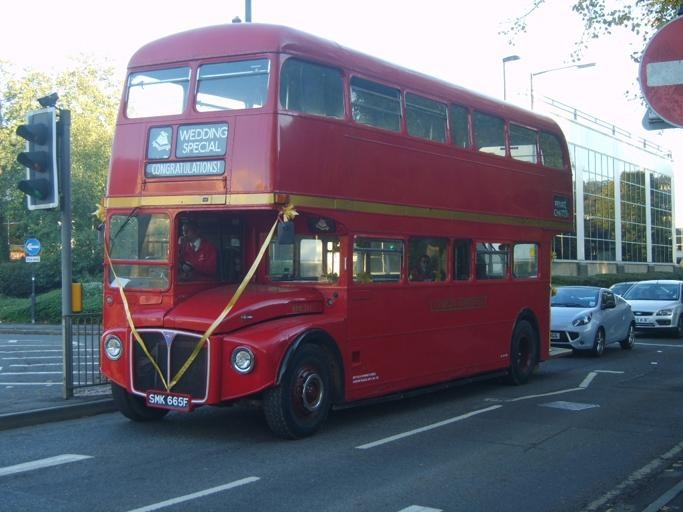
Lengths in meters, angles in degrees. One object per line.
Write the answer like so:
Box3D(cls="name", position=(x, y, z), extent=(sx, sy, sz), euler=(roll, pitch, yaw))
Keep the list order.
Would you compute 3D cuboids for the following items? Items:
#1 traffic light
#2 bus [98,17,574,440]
Box3D(cls="traffic light", position=(-4.916, -1.625, 10.625), extent=(0.585, 1.679, 0.754), euler=(1, -1, -28))
Box3D(cls="bus", position=(1.148, -0.299, 11.874), extent=(10.407, 5.691, 2.810), euler=(1, -2, -41))
